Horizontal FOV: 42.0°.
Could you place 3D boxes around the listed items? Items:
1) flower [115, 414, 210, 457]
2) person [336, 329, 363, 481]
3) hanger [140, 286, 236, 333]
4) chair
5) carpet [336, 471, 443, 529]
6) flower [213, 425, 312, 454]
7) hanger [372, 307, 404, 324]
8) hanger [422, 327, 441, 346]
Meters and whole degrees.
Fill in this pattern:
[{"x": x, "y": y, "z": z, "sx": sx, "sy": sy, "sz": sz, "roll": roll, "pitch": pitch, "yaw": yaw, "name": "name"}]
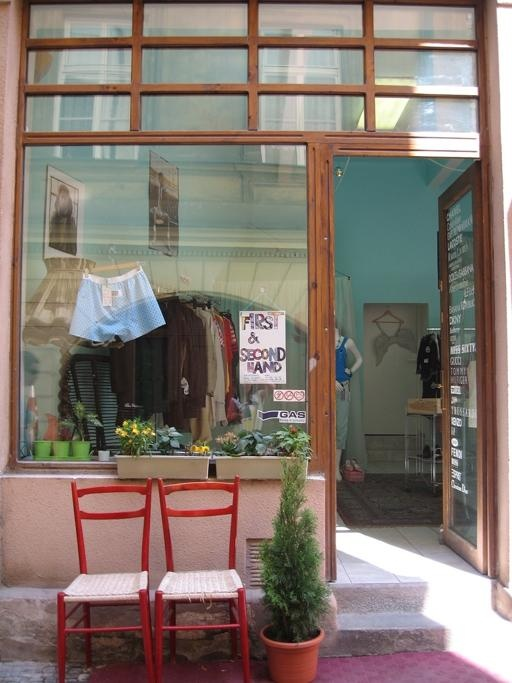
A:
[{"x": -0.500, "y": 0.515, "z": 3.587, "sx": 0.513, "sy": 0.204, "sz": 0.198, "roll": -1, "pitch": -2, "yaw": -6, "name": "flower"}, {"x": 0.957, "y": 0.629, "z": 6.926, "sx": 0.277, "sy": 1.549, "sz": 0.519, "roll": -2, "pitch": -2, "yaw": 8, "name": "person"}, {"x": -0.352, "y": -0.171, "z": 3.704, "sx": 0.593, "sy": 0.240, "sz": 0.167, "roll": 3, "pitch": 1, "yaw": -5, "name": "hanger"}, {"x": -0.477, "y": 1.034, "z": 3.109, "sx": 0.775, "sy": 0.996, "sz": 0.689, "roll": 2, "pitch": -3, "yaw": -12, "name": "chair"}, {"x": 1.144, "y": 1.310, "z": 5.720, "sx": 0.906, "sy": 0.112, "sz": 2.106, "roll": -2, "pitch": -2, "yaw": 10, "name": "carpet"}, {"x": 0.034, "y": 0.540, "z": 3.529, "sx": 0.506, "sy": 0.165, "sz": 0.186, "roll": -2, "pitch": -2, "yaw": 3, "name": "flower"}, {"x": 1.579, "y": -0.307, "z": 7.992, "sx": 0.361, "sy": 0.180, "sz": 0.023, "roll": -2, "pitch": -2, "yaw": -1, "name": "hanger"}, {"x": 1.918, "y": -0.055, "z": 7.264, "sx": 0.208, "sy": 0.135, "sz": 0.022, "roll": -1, "pitch": -12, "yaw": 5, "name": "hanger"}]
